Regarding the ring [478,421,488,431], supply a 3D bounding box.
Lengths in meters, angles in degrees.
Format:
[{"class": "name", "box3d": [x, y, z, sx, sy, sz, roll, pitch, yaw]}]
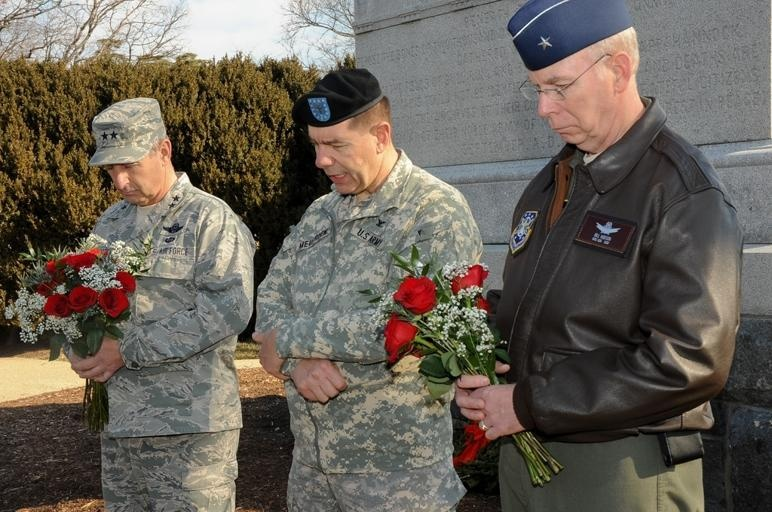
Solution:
[{"class": "ring", "box3d": [0.479, 0.831, 3.927, 0.027, 0.050, 0.040, -30, -16, -2]}]

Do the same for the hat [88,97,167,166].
[{"class": "hat", "box3d": [-1.688, -0.793, 5.286, 0.378, 0.260, 0.542, -2, 18, 25]}]
